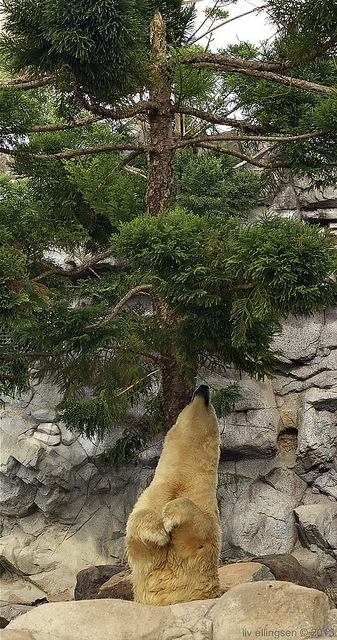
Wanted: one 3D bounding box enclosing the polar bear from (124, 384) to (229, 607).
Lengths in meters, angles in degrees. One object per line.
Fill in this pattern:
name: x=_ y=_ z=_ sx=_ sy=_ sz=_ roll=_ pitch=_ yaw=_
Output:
polar bear: x=0.085 y=1.184 z=4.731 sx=0.481 sy=1.470 sz=0.682 roll=15 pitch=-25 yaw=4
